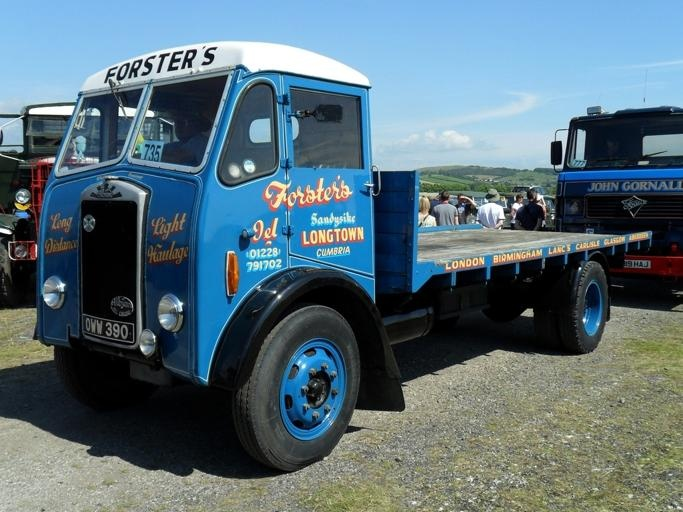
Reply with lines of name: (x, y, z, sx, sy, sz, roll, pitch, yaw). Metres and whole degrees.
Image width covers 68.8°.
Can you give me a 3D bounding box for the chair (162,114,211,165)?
chair: (-1.255, -0.722, 4.068, 0.260, 0.344, 0.439, 0, -5, -37)
